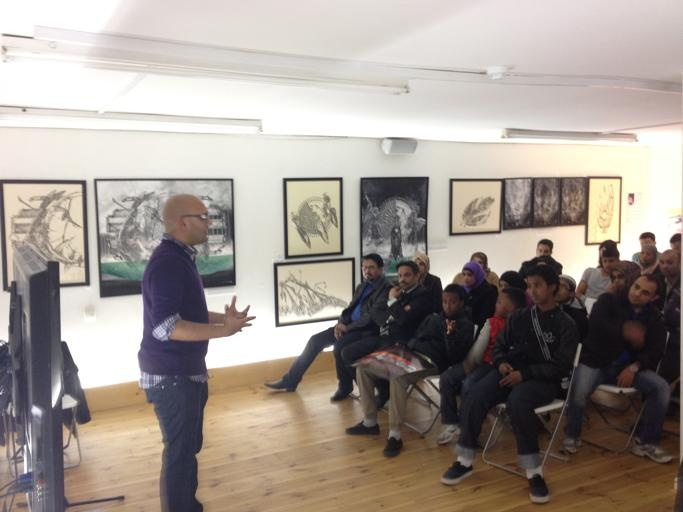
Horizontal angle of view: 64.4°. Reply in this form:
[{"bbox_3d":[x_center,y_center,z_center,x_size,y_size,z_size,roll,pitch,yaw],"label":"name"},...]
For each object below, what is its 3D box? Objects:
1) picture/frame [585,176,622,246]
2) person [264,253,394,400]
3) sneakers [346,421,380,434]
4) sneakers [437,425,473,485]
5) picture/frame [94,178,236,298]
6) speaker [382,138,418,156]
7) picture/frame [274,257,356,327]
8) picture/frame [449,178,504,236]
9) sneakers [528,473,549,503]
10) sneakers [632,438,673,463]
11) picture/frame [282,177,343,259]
[{"bbox_3d":[4.401,-0.789,9.167,1.154,1.464,0.097,-2,6,-37],"label":"picture/frame"},{"bbox_3d":[-0.141,0.863,6.409,1.467,1.776,0.761,1,10,-19],"label":"person"},{"bbox_3d":[0.224,1.772,5.595,0.353,0.151,0.134,2,-5,7],"label":"sneakers"},{"bbox_3d":[1.063,1.819,4.824,0.473,0.188,0.171,-39,26,-32],"label":"sneakers"},{"bbox_3d":[-1.847,-0.220,5.390,1.321,1.103,0.027,-5,11,-26],"label":"picture/frame"},{"bbox_3d":[0.792,-1.483,7.373,0.487,0.234,0.307,-3,10,-6],"label":"speaker"},{"bbox_3d":[-0.399,0.472,7.086,0.842,0.653,0.061,-6,13,-26],"label":"picture/frame"},{"bbox_3d":[1.969,-0.749,8.071,0.797,0.699,0.034,-7,13,-29],"label":"picture/frame"},{"bbox_3d":[1.601,1.881,4.403,0.102,0.103,0.249,-3,9,8],"label":"sneakers"},{"bbox_3d":[2.814,1.768,4.915,0.127,0.143,0.295,-6,4,-40],"label":"sneakers"},{"bbox_3d":[-0.411,-0.523,7.037,0.943,1.189,0.044,-5,12,-27],"label":"picture/frame"}]
